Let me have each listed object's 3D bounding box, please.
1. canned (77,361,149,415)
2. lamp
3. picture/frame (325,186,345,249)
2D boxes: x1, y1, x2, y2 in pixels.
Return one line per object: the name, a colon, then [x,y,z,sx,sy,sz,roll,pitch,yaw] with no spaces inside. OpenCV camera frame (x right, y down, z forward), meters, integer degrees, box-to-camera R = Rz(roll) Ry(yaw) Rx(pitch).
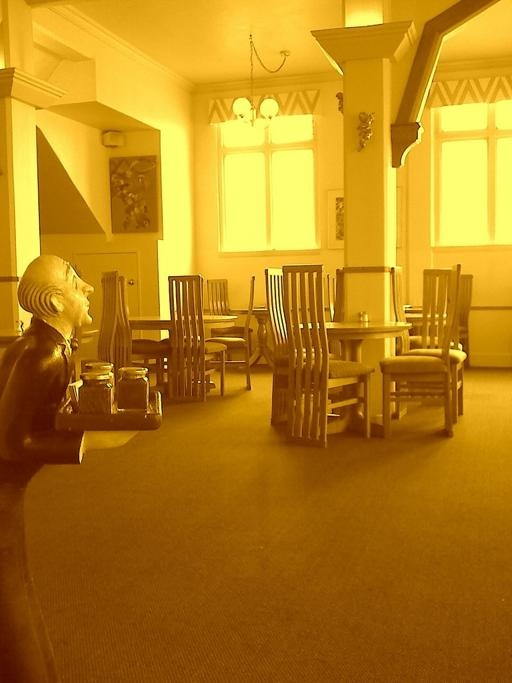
canned: [-0.223,0.071,0.785,0.075,0.060,0.087,0,2,-4]
lamp: [0.081,-3.786,7.323,0.609,1.537,0.603,-1,-7,-2]
picture/frame: [1.242,-1.939,8.323,0.245,0.936,0.146,-1,1,7]
